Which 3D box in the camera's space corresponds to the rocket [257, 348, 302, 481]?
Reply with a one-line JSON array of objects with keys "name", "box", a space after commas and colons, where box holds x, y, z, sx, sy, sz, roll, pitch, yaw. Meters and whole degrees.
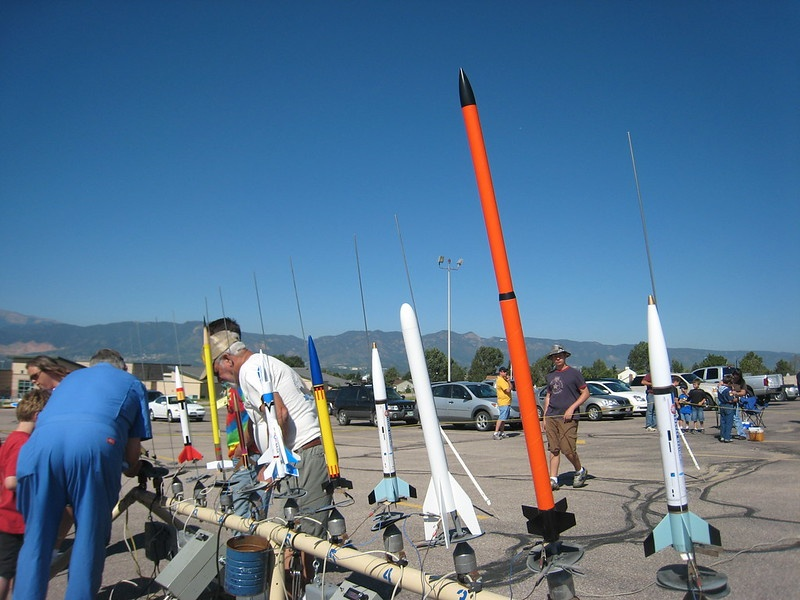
[{"name": "rocket", "box": [-0.955, 0.876, 4.164, 0.298, 0.974, 0.224, -6, -6, 32]}]

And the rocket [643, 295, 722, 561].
[{"name": "rocket", "box": [1.551, 0.720, 3.133, 0.370, 1.499, 0.433, -7, -6, 39]}]

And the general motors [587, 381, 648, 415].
[{"name": "general motors", "box": [8.947, 3.944, 21.848, 1.222, 1.000, 2.669, 1, -6, -33]}]

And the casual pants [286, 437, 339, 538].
[{"name": "casual pants", "box": [-0.620, 1.544, 4.408, 0.191, 0.785, 0.230, -15, 9, -36]}]

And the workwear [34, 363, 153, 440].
[{"name": "workwear", "box": [-2.254, 0.815, 4.032, 0.771, 0.691, 0.457, 9, -23, -17]}]

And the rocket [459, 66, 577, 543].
[{"name": "rocket", "box": [0.607, -0.045, 2.912, 0.438, 2.645, 0.433, -5, -5, 16]}]
